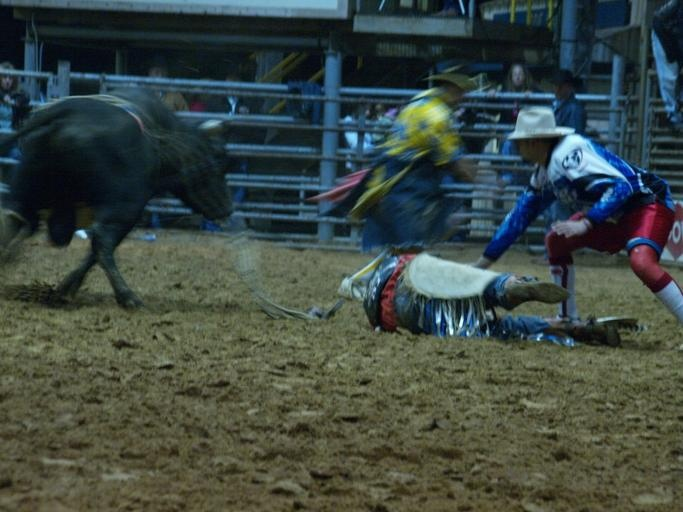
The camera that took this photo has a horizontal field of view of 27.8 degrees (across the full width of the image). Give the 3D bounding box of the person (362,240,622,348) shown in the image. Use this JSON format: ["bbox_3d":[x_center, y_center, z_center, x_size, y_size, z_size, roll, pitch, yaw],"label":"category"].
[{"bbox_3d":[0.949,0.336,10.179,1.225,0.583,0.892,-2,1,-2],"label":"person"}]

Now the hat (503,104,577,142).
[{"bbox_3d":[1.480,-0.974,10.173,0.314,0.139,0.278,-11,8,-30],"label":"hat"}]

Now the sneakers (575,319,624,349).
[{"bbox_3d":[1.922,0.578,10.252,0.211,0.116,0.236,7,40,14],"label":"sneakers"}]

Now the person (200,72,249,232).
[{"bbox_3d":[-1.049,-0.905,12.399,0.294,1.586,0.784,3,6,11],"label":"person"}]

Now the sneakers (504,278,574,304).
[{"bbox_3d":[1.388,0.246,10.010,0.303,0.159,0.224,7,8,10],"label":"sneakers"}]

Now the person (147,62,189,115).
[{"bbox_3d":[-1.765,-1.747,13.962,0.267,0.343,1.497,-7,20,-5],"label":"person"}]
